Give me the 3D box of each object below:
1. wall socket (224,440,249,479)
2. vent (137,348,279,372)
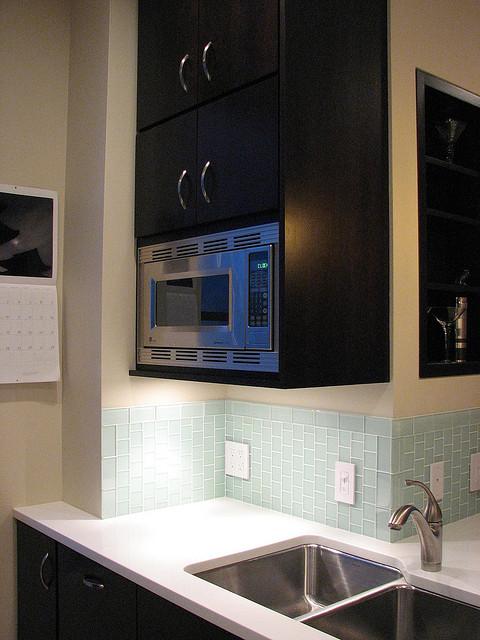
[{"bbox_3d":[-0.015,0.503,1.935,0.005,0.120,0.083,-5,-2,-29],"label":"wall socket"},{"bbox_3d":[-0.118,0.112,1.501,0.026,0.058,0.667,1,-4,-40],"label":"vent"}]
